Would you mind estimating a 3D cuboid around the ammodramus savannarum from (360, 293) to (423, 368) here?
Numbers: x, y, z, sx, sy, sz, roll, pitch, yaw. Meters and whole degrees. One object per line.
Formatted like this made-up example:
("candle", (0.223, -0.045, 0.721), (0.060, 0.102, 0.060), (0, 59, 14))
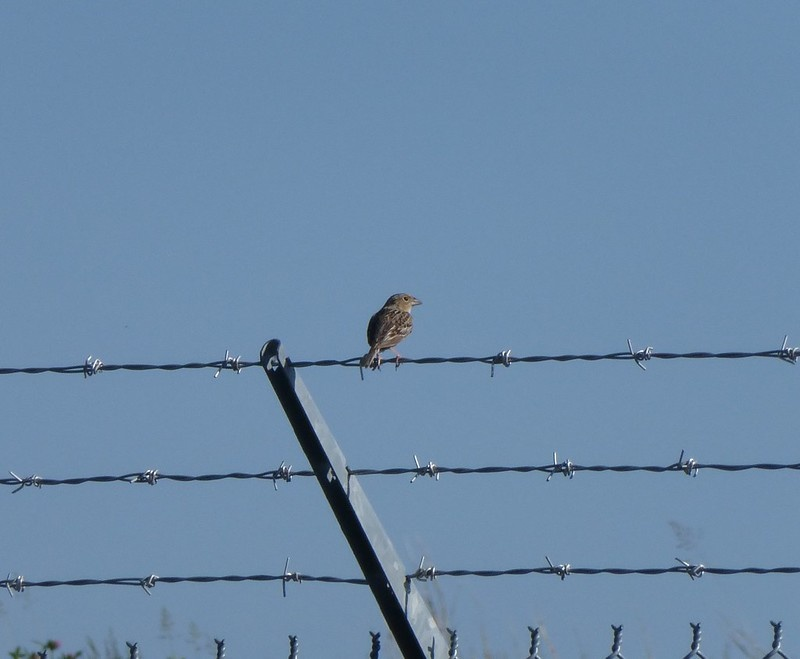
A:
("ammodramus savannarum", (-0.064, 0.020, 10.931), (0.200, 0.434, 0.375), (4, -83, 37))
